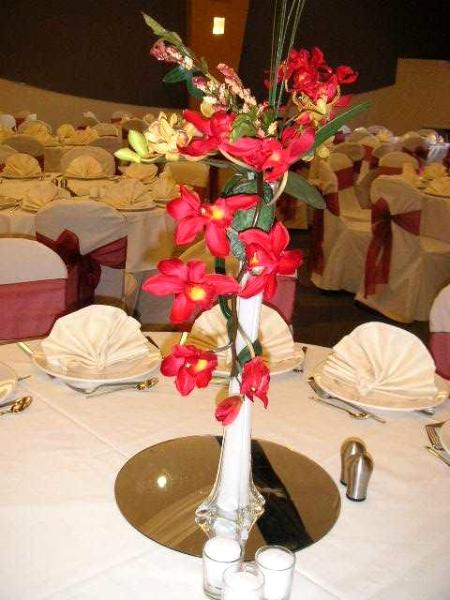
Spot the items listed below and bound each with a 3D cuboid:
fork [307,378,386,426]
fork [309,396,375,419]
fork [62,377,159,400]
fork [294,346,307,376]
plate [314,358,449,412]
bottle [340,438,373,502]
[{"bbox_3d":[0.296,0.247,1.091,0.183,0.025,0.023,24,41,35],"label":"fork"},{"bbox_3d":[0.281,0.256,1.090,0.129,0.036,0.039,23,27,16],"label":"fork"},{"bbox_3d":[-0.291,0.217,1.117,0.175,0.031,0.024,-7,43,-22],"label":"fork"},{"bbox_3d":[0.222,0.181,1.303,0.016,0.055,0.062,8,5,6],"label":"fork"},{"bbox_3d":[0.391,0.211,1.134,0.207,0.032,0.176,1,10,-10],"label":"plate"},{"bbox_3d":[0.221,0.291,0.769,0.049,0.104,0.086,0,13,-4],"label":"bottle"}]
